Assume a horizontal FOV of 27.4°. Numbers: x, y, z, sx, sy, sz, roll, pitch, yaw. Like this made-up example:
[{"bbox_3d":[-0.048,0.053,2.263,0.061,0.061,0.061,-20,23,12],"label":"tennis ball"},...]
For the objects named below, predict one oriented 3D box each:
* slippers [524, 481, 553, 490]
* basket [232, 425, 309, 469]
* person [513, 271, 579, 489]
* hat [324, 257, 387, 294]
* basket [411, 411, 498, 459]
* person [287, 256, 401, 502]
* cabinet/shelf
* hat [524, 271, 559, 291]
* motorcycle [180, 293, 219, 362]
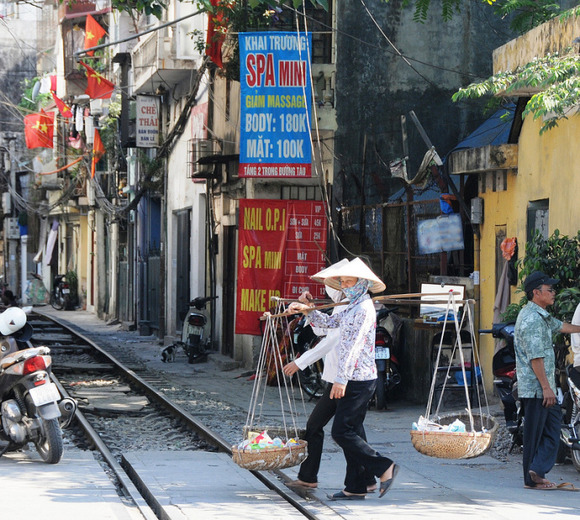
[{"bbox_3d":[2.325,2.116,11.296,0.255,0.115,0.092,5,-3,15],"label":"slippers"},{"bbox_3d":[-0.112,1.745,10.928,0.502,0.266,0.542,-5,-9,44],"label":"basket"},{"bbox_3d":[2.398,1.138,11.413,0.490,2.059,0.453,-1,3,-6],"label":"person"},{"bbox_3d":[0.589,0.128,11.038,0.368,0.184,0.401,1,-30,9],"label":"hat"},{"bbox_3d":[1.558,1.625,10.837,0.645,0.301,0.540,2,-4,-23],"label":"basket"},{"bbox_3d":[0.488,1.093,11.085,0.663,2.232,1.027,-3,4,-43],"label":"person"},{"bbox_3d":[2.157,1.373,15.942,0.593,1.128,0.674,-3,-9,20],"label":"cabinet/shelf"},{"bbox_3d":[2.403,0.204,11.513,0.276,0.158,0.189,-17,-1,4],"label":"hat"},{"bbox_3d":[-1.794,1.307,23.157,0.666,1.258,1.250,-1,2,-3],"label":"motorcycle"}]
